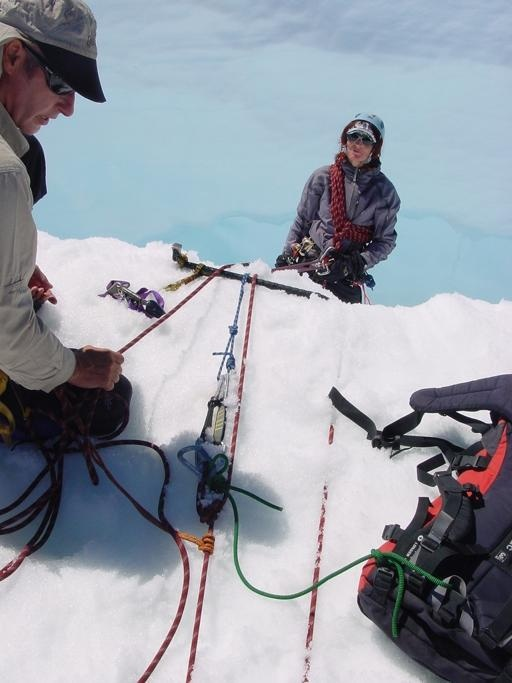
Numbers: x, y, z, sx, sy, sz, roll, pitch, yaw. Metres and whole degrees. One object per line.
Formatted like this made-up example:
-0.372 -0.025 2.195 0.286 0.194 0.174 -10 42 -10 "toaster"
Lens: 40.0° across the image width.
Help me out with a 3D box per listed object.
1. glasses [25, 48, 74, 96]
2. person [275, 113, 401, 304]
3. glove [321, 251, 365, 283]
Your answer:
-0.744 -0.964 2.521 0.039 0.114 0.121 -17 6 2 "glasses"
0.693 -0.997 5.534 0.885 1.491 0.671 17 31 10 "person"
0.706 -0.560 5.548 0.418 0.285 0.149 -12 38 -35 "glove"
